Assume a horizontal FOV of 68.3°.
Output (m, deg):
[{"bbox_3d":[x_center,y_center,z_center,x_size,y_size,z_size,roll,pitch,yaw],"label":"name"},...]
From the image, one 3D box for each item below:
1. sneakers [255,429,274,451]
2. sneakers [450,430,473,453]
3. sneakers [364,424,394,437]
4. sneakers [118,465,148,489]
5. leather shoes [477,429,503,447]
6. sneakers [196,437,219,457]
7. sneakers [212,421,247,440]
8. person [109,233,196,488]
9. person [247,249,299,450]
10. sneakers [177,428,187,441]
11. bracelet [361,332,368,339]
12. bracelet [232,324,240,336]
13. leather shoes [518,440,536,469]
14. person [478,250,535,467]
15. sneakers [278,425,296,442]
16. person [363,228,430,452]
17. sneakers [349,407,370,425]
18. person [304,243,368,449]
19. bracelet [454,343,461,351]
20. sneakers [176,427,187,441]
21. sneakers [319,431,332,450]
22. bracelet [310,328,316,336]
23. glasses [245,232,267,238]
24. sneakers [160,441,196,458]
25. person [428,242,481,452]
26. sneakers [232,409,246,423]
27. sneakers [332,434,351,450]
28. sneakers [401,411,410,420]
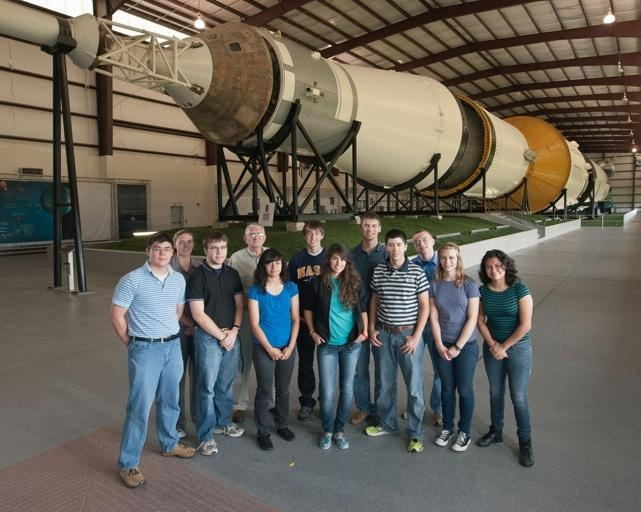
[{"bbox_3d":[-0.533,1.708,4.449,0.156,0.145,0.218,-3,6,-11],"label":"sneakers"},{"bbox_3d":[1.303,1.689,4.391,0.163,0.159,0.246,1,7,23],"label":"sneakers"},{"bbox_3d":[0.579,1.706,4.649,0.264,0.112,0.103,6,-3,3],"label":"sneakers"},{"bbox_3d":[-1.571,1.848,3.963,0.217,0.104,0.115,-4,-8,38],"label":"sneakers"},{"bbox_3d":[1.582,1.690,4.414,0.324,0.126,0.106,3,-5,-30],"label":"leather shoes"},{"bbox_3d":[-1.046,1.740,4.369,0.194,0.132,0.189,-4,7,-25],"label":"sneakers"},{"bbox_3d":[-0.889,1.712,4.653,0.280,0.120,0.117,0,6,-5],"label":"sneakers"},{"bbox_3d":[-1.471,0.856,4.109,0.626,2.061,0.481,-4,6,-20],"label":"person"},{"bbox_3d":[-0.430,0.854,4.486,0.478,1.827,0.416,-2,6,-9],"label":"person"},{"bbox_3d":[-1.355,1.731,4.597,0.064,0.070,0.176,2,0,-8],"label":"sneakers"},{"bbox_3d":[0.419,0.787,4.645,0.062,0.058,0.019,5,-3,-32],"label":"bracelet"},{"bbox_3d":[-0.827,0.722,4.604,0.075,0.084,0.046,-3,-10,41],"label":"bracelet"},{"bbox_3d":[1.781,1.730,4.074,0.083,0.108,0.252,0,-1,19],"label":"leather shoes"},{"bbox_3d":[1.722,0.860,4.367,0.613,1.825,0.616,3,8,37],"label":"person"},{"bbox_3d":[-0.333,1.713,4.553,0.082,0.067,0.169,-6,4,-38],"label":"sneakers"},{"bbox_3d":[0.717,0.757,4.583,0.641,2.009,0.572,1,7,26],"label":"person"},{"bbox_3d":[0.398,1.670,4.924,0.084,0.098,0.250,-4,-7,37],"label":"sneakers"},{"bbox_3d":[0.163,0.830,4.611,0.646,1.867,0.661,-2,6,-2],"label":"person"},{"bbox_3d":[1.271,0.851,4.418,0.031,0.063,0.050,-22,-2,15],"label":"bracelet"},{"bbox_3d":[-1.358,1.728,4.597,0.065,0.071,0.180,2,0,-6],"label":"sneakers"},{"bbox_3d":[0.042,1.724,4.473,0.119,0.111,0.222,-1,6,2],"label":"sneakers"},{"bbox_3d":[-0.084,0.767,4.698,0.040,0.043,0.047,16,-30,-31],"label":"bracelet"},{"bbox_3d":[-0.687,-0.210,4.923,0.202,0.108,0.145,-3,6,-13],"label":"glasses"},{"bbox_3d":[-1.292,1.754,4.277,0.284,0.118,0.124,0,4,-5],"label":"sneakers"},{"bbox_3d":[1.256,0.827,4.445,0.462,1.860,0.499,0,6,15],"label":"person"},{"bbox_3d":[-0.848,1.662,4.917,0.059,0.073,0.173,0,5,-26],"label":"sneakers"},{"bbox_3d":[0.200,1.729,4.465,0.154,0.113,0.188,-3,7,-18],"label":"sneakers"},{"bbox_3d":[0.859,1.636,4.876,0.054,0.043,0.140,-1,7,-24],"label":"sneakers"}]
